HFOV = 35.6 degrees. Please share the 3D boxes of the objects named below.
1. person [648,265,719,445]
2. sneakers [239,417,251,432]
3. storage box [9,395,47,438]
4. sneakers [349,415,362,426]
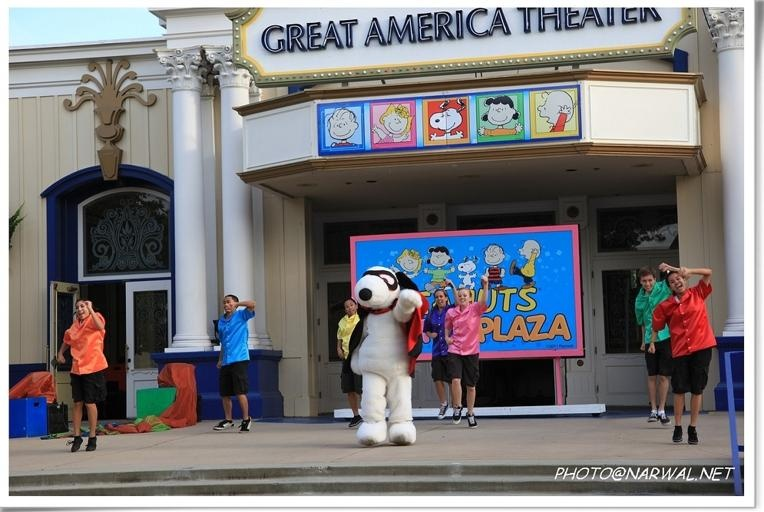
[{"bbox_3d":[4.798,1.507,18.708,0.957,2.851,0.776,-6,-7,28],"label":"person"},{"bbox_3d":[-2.522,3.086,21.803,0.158,0.172,0.431,-3,-9,3],"label":"sneakers"},{"bbox_3d":[-6.671,3.012,22.389,0.647,0.855,0.864,0,-3,-45],"label":"storage box"},{"bbox_3d":[-0.485,3.033,22.122,0.128,0.139,0.354,-21,-1,21],"label":"sneakers"}]
